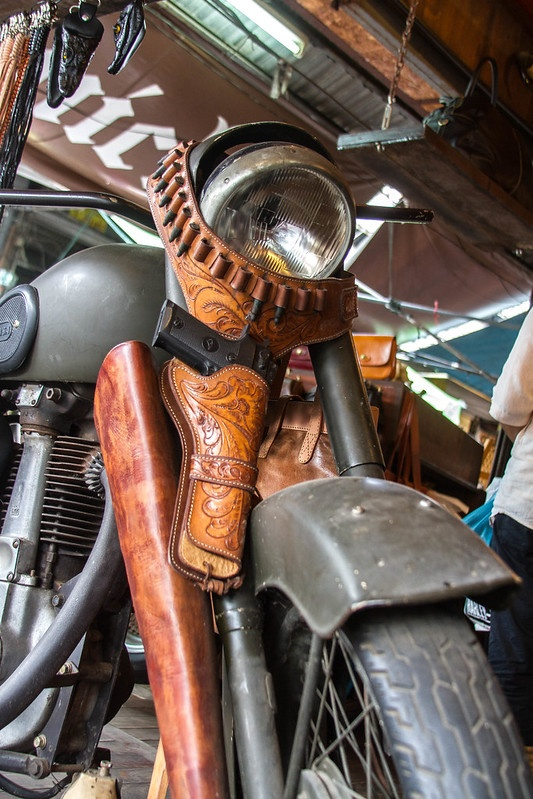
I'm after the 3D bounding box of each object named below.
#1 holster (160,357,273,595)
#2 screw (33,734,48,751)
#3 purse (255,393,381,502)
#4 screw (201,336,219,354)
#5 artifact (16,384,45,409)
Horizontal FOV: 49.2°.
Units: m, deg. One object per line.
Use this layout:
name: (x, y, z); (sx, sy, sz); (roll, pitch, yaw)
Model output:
holster: (-0.048, 0.073, 0.543); (0.103, 0.197, 0.045); (21, -29, -23)
screw: (-0.282, 0.429, 0.727); (0.021, 0.021, 0.011); (-3, -18, 10)
purse: (0.083, 0.130, 1.306); (0.115, 0.276, 0.284); (9, -3, -43)
screw: (-0.058, -0.054, 0.585); (0.017, 0.016, 0.002); (6, -20, -25)
artifact: (-0.340, -0.003, 0.849); (0.037, 0.036, 0.014); (5, -13, 32)
